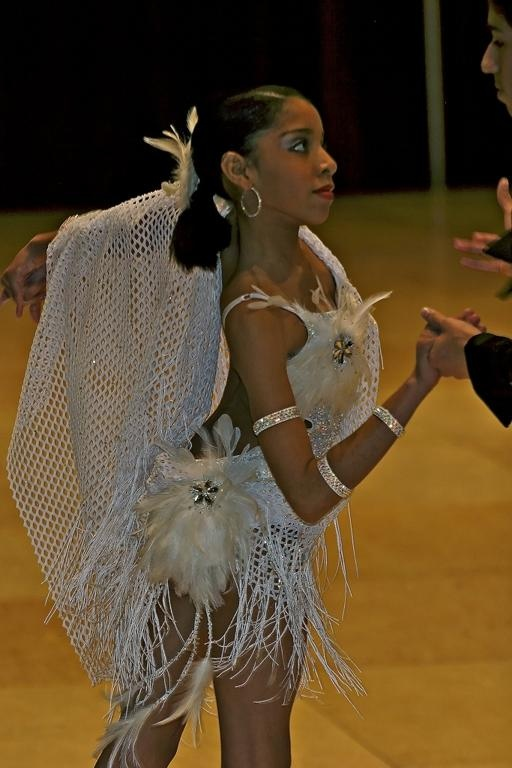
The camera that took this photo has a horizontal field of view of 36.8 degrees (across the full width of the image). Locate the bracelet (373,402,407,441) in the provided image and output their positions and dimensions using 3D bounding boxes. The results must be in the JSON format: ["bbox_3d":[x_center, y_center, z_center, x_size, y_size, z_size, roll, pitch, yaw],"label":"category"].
[{"bbox_3d":[0.186,0.051,1.105,0.018,0.045,0.035,-43,-17,-9],"label":"bracelet"}]
